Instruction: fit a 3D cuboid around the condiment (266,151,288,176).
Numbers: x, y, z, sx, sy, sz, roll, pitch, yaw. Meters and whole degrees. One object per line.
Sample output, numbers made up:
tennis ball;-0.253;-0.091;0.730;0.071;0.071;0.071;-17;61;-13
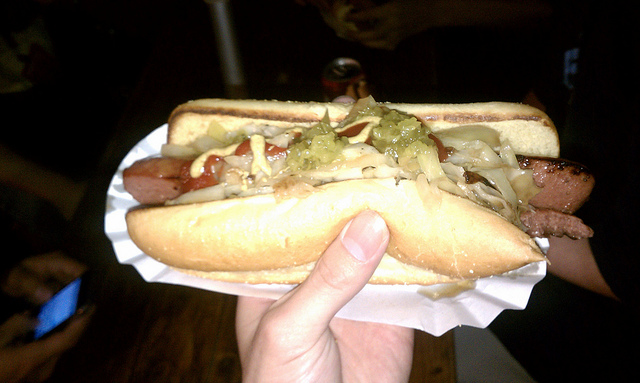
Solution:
condiment;-0.432;-0.292;5.096;0.203;0.071;0.217;-14;67;-2
